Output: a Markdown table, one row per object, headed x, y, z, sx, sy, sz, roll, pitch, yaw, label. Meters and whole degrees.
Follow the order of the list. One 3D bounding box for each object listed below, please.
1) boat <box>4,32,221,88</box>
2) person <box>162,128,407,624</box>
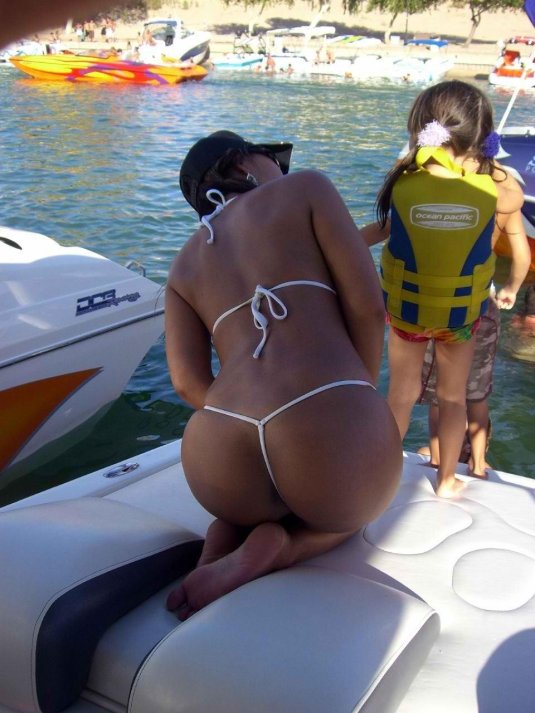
| x | y | z | sx | sy | sz | roll | pitch | yaw | label |
| --- | --- | --- | --- | --- | --- | --- | --- | --- | --- |
| -3.730 | -7.568 | 16.929 | 1.406 | 0.860 | 6.359 | 12 | 24 | 21 | boat |
| 0.029 | 0.030 | 1.367 | 0.489 | 0.904 | 0.757 | -1 | 25 | -8 | person |
